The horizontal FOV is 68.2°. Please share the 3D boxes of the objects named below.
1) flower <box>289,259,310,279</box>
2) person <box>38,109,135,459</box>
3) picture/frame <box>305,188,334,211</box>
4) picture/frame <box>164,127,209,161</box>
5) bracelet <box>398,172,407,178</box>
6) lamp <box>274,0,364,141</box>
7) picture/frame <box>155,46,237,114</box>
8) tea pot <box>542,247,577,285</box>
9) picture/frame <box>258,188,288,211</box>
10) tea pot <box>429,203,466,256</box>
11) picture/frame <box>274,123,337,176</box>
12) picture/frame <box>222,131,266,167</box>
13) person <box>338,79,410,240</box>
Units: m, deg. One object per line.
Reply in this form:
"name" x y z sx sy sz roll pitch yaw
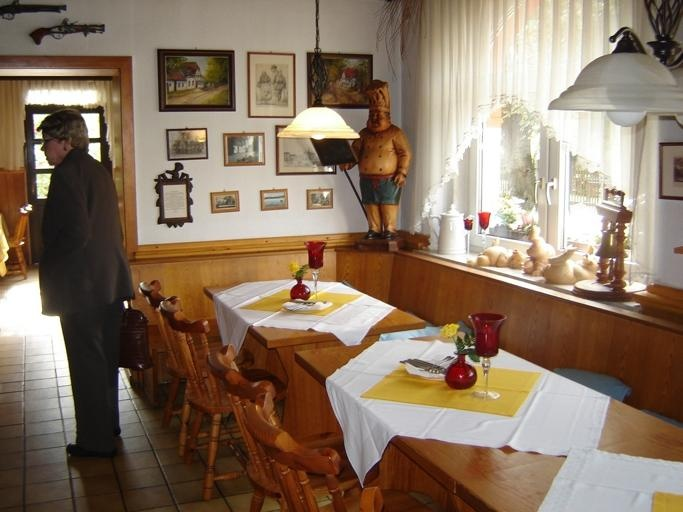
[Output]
"flower" -0.254 0.084 3.064 0.108 0.125 0.162 -9 -6 42
"person" -1.478 0.183 2.939 0.473 2.020 0.281 -8 12 -34
"picture/frame" -0.206 -0.520 4.493 0.183 0.154 0.014 -2 4 -20
"picture/frame" -1.291 -0.936 4.150 0.257 0.229 0.018 -2 14 -15
"bracelet" 0.495 -0.675 4.121 0.053 0.059 0.054 1 15 0
"lamp" -0.141 -1.248 3.227 0.505 1.001 1.352 -2 10 -3
"picture/frame" -1.208 -1.457 4.095 0.516 0.457 0.041 -2 10 -14
"tea pot" 1.246 0.055 2.899 0.189 0.215 0.151 -2 -2 24
"picture/frame" -0.602 -0.504 4.375 0.178 0.156 0.014 -1 5 -21
"tea pot" 0.825 -0.219 3.924 0.310 0.377 0.275 3 11 22
"picture/frame" -0.298 -0.828 3.869 0.474 0.432 0.021 -1 5 -15
"picture/frame" -0.841 -0.923 4.260 0.281 0.262 0.021 -1 7 -13
"person" 0.336 -0.786 4.193 0.471 1.284 0.274 -1 10 4
